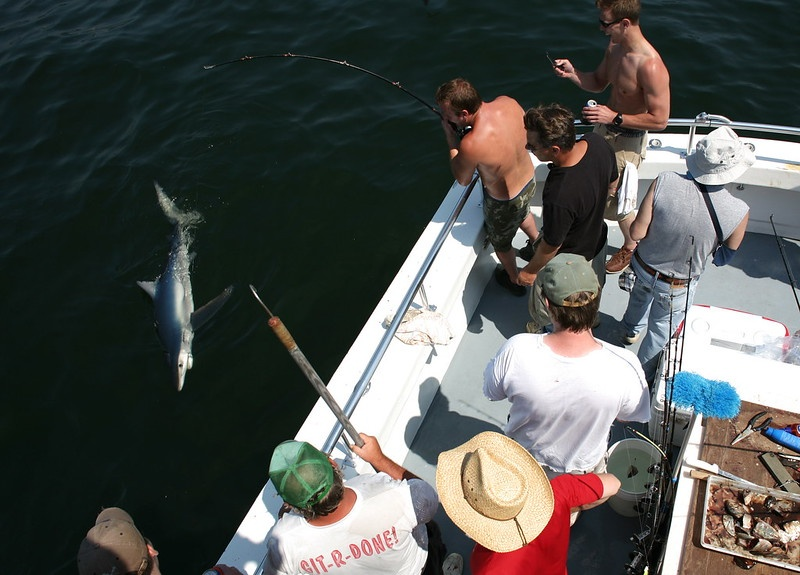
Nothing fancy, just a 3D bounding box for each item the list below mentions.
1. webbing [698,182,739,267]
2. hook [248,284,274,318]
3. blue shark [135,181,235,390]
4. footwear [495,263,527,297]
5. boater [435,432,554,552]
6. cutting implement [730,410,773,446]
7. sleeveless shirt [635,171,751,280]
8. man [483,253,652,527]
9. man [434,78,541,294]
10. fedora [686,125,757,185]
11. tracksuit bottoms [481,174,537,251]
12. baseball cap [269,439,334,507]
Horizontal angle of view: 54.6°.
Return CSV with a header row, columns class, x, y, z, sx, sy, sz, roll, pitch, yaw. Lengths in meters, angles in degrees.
class,x,y,z,sx,sy,sz,roll,pitch,yaw
webbing,2.982,-0.636,7.414,0.206,0.507,0.696,-20,61,-3
hook,-1.694,0.176,9.465,0.079,0.406,0.104,-23,10,25
blue shark,-2.730,0.060,10.234,0.980,0.799,2.574,-25,56,39
footwear,1.204,-0.055,8.601,0.177,0.188,0.485,-40,72,-1
boater,0.791,1.651,6.356,0.917,0.528,0.855,-17,53,-2
cutting implement,3.018,1.200,6.619,0.444,0.097,0.177,-35,74,-13
sleeveless shirt,2.836,-0.619,7.525,0.673,0.864,0.462,35,28,8
man,1.514,1.230,7.558,1.447,3.650,1.237,10,44,12
man,0.935,-0.971,8.243,0.900,2.614,0.938,22,65,38
fedora,2.965,-1.194,7.156,0.502,0.284,0.568,38,90,26
tracksuit bottoms,1.176,-0.765,8.257,0.387,0.744,0.536,20,43,31
baseball cap,-0.815,1.541,6.518,0.415,0.325,0.582,-36,81,-6
